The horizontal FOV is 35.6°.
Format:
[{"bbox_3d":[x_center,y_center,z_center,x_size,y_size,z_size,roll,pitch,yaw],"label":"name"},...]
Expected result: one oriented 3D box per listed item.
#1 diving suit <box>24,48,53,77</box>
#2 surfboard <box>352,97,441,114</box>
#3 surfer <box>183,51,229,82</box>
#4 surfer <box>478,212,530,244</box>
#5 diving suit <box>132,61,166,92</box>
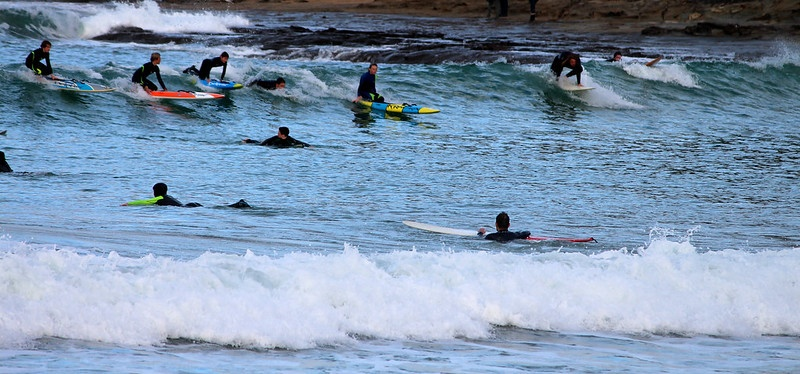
[{"bbox_3d":[-19.626,-6.753,67.482,1.310,1.481,1.101,6,11,14],"label":"diving suit"},{"bbox_3d":[0.503,-4.387,69.323,6.530,0.576,1.176,4,8,15],"label":"surfboard"},{"bbox_3d":[-10.766,-6.830,70.279,1.950,1.640,2.999,-3,11,-33],"label":"surfer"},{"bbox_3d":[4.550,1.968,56.876,2.932,0.902,1.521,-3,8,-30],"label":"surfer"},{"bbox_3d":[-14.044,-6.048,69.163,1.901,2.086,1.007,20,45,-6],"label":"diving suit"}]
